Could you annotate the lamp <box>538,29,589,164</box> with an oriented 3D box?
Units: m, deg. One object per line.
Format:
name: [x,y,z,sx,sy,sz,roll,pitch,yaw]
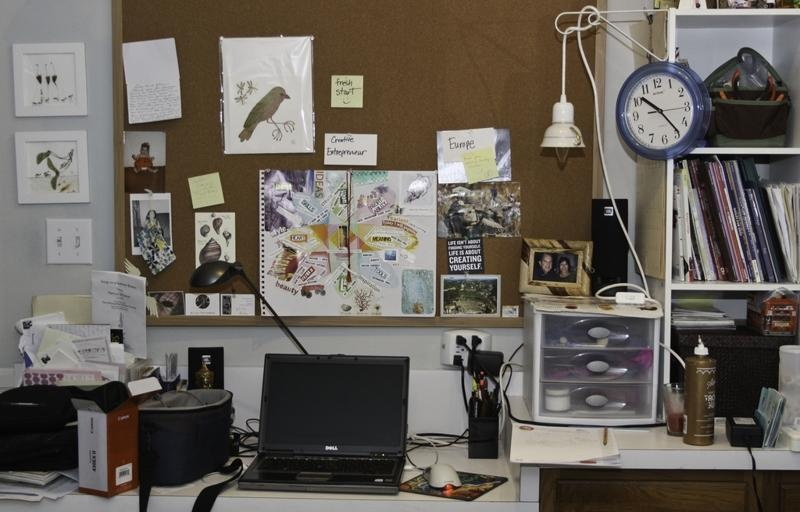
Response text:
lamp: [0.665,-0.663,3.423,0.184,0.556,0.182,-2,-3,13]

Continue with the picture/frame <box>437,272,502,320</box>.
picture/frame: [0.297,0.170,3.511,0.247,0.171,0.055,-2,-3,11]

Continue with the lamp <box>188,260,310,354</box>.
lamp: [-0.626,0.215,3.431,0.463,0.403,0.267,-1,-3,-8]

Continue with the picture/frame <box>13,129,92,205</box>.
picture/frame: [-1.497,-0.395,3.546,0.300,0.322,0.015,0,6,2]

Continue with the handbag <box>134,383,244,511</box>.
handbag: [-0.798,0.683,3.290,0.339,0.464,0.636,0,-5,6]

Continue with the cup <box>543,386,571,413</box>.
cup: [0.612,0.562,3.242,0.089,0.080,0.093,0,-1,0]

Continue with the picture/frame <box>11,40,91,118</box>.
picture/frame: [-1.499,-0.771,3.527,0.302,0.323,0.023,0,6,1]

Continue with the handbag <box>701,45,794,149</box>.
handbag: [1.395,-0.620,3.299,0.405,0.452,0.249,0,-7,0]

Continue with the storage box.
storage box: [1.312,0.440,3.361,0.356,0.280,0.369,0,-1,2]

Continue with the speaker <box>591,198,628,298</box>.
speaker: [0.864,-0.043,3.426,0.149,0.383,0.060,-2,-2,4]

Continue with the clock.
clock: [1.065,-0.574,3.284,0.377,0.447,0.129,-7,-2,31]

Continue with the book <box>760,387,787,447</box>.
book: [1.388,0.618,3.140,0.061,0.192,0.138,6,6,1]

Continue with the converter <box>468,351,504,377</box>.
converter: [0.352,0.441,3.385,0.115,0.095,0.043,2,-2,3]

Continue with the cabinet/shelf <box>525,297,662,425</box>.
cabinet/shelf: [0.744,0.426,3.340,0.567,0.561,0.438,0,-4,3]

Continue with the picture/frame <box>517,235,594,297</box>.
picture/frame: [0.653,0.049,3.447,0.236,0.212,0.018,2,-2,7]
